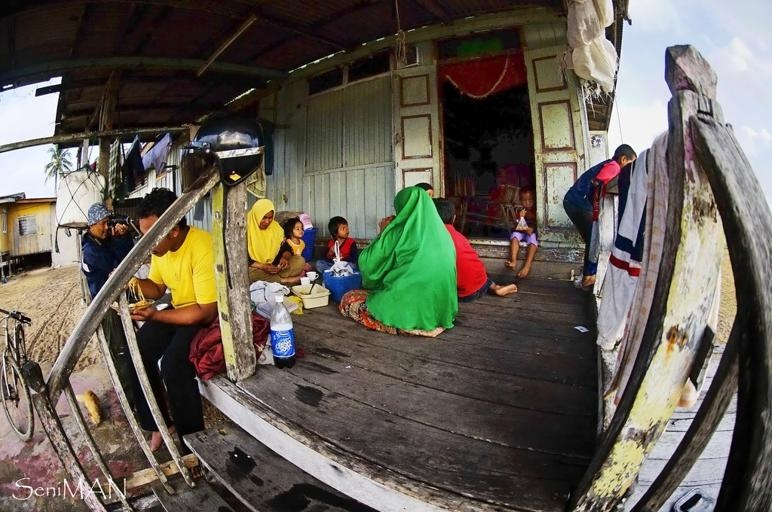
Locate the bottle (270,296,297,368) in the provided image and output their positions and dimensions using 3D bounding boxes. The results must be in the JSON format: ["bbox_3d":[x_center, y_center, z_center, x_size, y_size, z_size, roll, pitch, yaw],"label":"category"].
[{"bbox_3d":[-0.840,0.587,3.483,0.192,0.554,0.197,-2,11,0],"label":"bottle"}]

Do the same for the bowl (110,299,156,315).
[{"bbox_3d":[-1.972,0.392,3.384,0.317,0.076,0.319,4,3,0],"label":"bowl"}]

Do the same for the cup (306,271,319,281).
[{"bbox_3d":[-0.869,0.229,5.098,0.105,0.107,0.155,-8,-15,34],"label":"cup"}]

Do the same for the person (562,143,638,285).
[{"bbox_3d":[2.420,-0.405,5.030,0.385,1.591,0.925,-3,11,-4],"label":"person"}]

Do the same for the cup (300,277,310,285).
[{"bbox_3d":[-0.918,0.286,4.863,0.081,0.064,0.083,-5,-3,0],"label":"cup"}]
